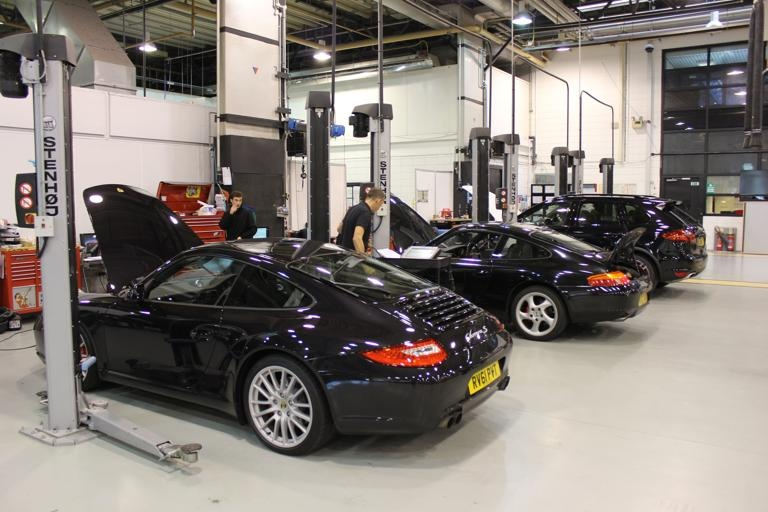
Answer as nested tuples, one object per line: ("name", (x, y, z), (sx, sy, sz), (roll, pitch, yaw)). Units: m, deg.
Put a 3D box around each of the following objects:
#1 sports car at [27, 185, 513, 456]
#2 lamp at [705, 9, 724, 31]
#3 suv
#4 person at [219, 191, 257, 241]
("sports car", (-0.763, 0.702, 4.618), (3.475, 1.528, 1.092), (4, 14, 19))
("lamp", (9.272, -6.628, 14.985), (0.339, 0.489, 1.016), (7, 15, 29))
("suv", (3.764, -0.400, 9.896), (3.664, 1.206, 1.533), (6, 6, 27))
("person", (-2.367, -0.530, 8.786), (0.650, 0.940, 0.531), (-4, 8, -11))
